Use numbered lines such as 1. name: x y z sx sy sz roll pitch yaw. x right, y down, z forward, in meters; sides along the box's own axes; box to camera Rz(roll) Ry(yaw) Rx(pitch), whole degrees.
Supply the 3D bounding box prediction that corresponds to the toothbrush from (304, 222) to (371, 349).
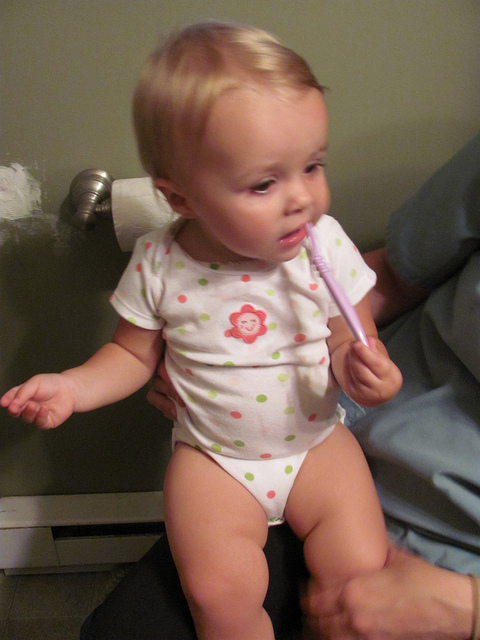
1. toothbrush: 0.131 -0.042 0.877 0.025 0.024 0.195 -22 82 8
